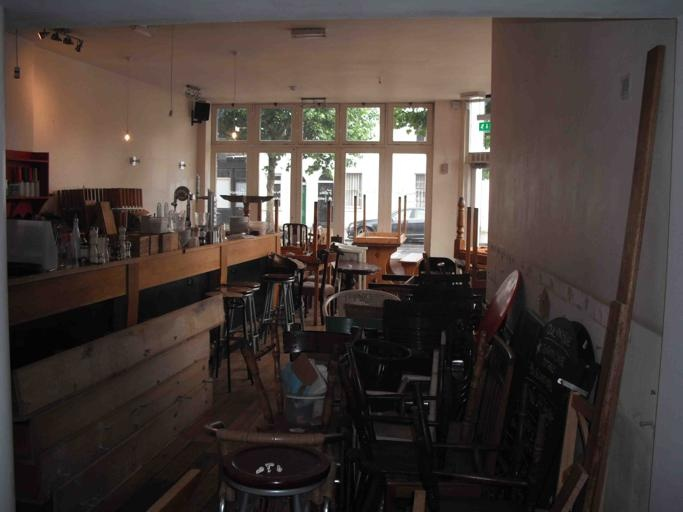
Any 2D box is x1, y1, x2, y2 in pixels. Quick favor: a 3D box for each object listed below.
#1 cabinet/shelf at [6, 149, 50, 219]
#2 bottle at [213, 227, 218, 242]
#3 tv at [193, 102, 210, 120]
[{"bbox_3d":[-4.392,-1.030,7.493,0.615,0.895,0.397,-8,11,-44],"label":"cabinet/shelf"},{"bbox_3d":[-1.339,-0.222,5.642,0.041,0.143,0.110,0,8,1],"label":"bottle"},{"bbox_3d":[-2.962,-3.061,11.256,0.347,0.505,0.255,2,0,-13],"label":"tv"}]
